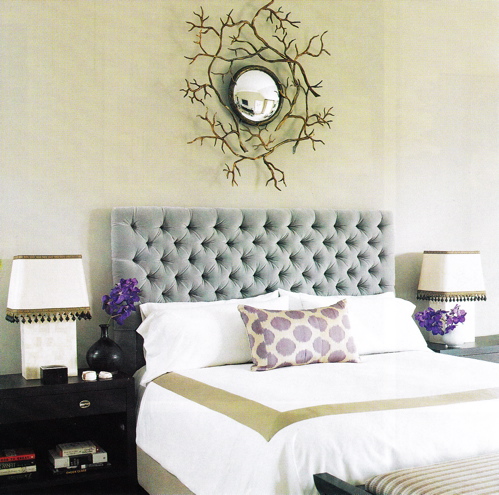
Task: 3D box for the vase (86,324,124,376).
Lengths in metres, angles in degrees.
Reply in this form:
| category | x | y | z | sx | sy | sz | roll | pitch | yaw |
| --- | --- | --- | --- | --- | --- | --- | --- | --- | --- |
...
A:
| category | x | y | z | sx | sy | sz | roll | pitch | yaw |
| --- | --- | --- | --- | --- | --- | --- | --- | --- | --- |
| vase | -0.613 | 0.436 | 2.400 | 0.159 | 0.199 | 0.155 | -1 | 8 | 17 |

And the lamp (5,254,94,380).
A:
| category | x | y | z | sx | sy | sz | roll | pitch | yaw |
| --- | --- | --- | --- | --- | --- | --- | --- | --- | --- |
| lamp | -0.830 | 0.284 | 2.307 | 0.312 | 0.521 | 0.212 | -6 | 1 | -25 |

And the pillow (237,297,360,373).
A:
| category | x | y | z | sx | sy | sz | roll | pitch | yaw |
| --- | --- | --- | --- | --- | --- | --- | --- | --- | --- |
| pillow | 0.215 | 0.364 | 2.382 | 0.517 | 0.271 | 0.166 | -9 | 4 | 31 |

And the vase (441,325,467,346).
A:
| category | x | y | z | sx | sy | sz | roll | pitch | yaw |
| --- | --- | --- | --- | --- | --- | --- | --- | --- | --- |
| vase | 1.120 | 0.472 | 3.015 | 0.130 | 0.118 | 0.111 | 1 | -6 | -17 |

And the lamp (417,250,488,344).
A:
| category | x | y | z | sx | sy | sz | roll | pitch | yaw |
| --- | --- | --- | --- | --- | --- | --- | --- | --- | --- |
| lamp | 1.111 | 0.252 | 3.075 | 0.366 | 0.445 | 0.367 | -1 | -1 | 27 |

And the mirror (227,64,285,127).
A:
| category | x | y | z | sx | sy | sz | roll | pitch | yaw |
| --- | --- | --- | --- | --- | --- | --- | --- | --- | --- |
| mirror | 0.016 | -0.803 | 2.940 | 0.361 | 0.349 | 0.048 | 0 | 8 | -29 |
